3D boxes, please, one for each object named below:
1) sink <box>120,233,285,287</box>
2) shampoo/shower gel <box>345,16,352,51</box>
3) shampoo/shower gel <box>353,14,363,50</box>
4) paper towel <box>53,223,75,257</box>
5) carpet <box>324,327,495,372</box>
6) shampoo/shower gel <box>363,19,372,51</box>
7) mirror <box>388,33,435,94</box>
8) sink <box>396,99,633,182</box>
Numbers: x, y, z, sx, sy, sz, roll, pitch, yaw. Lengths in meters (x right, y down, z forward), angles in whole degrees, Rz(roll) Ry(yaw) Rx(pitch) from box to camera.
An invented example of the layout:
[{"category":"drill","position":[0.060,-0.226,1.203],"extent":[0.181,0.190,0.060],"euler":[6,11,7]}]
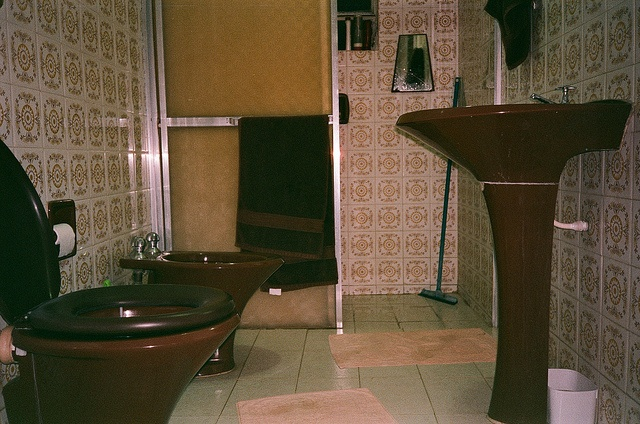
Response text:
[{"category":"sink","position":[-0.617,0.214,2.597],"extent":[0.647,0.327,0.335],"euler":[2,14,4]},{"category":"shampoo/shower gel","position":[0.189,-1.249,3.599],"extent":[0.048,0.201,0.077],"euler":[-1,10,1]},{"category":"shampoo/shower gel","position":[0.257,-1.254,3.574],"extent":[0.070,0.208,0.100],"euler":[-2,10,-3]},{"category":"paper towel","position":[-1.036,0.110,2.044],"extent":[0.081,0.109,0.114],"euler":[11,12,27]},{"category":"carpet","position":[0.518,0.738,2.835],"extent":[0.946,0.015,0.466],"euler":[-2,9,-3]},{"category":"shampoo/shower gel","position":[0.329,-1.249,3.613],"extent":[0.054,0.176,0.087],"euler":[0,10,5]},{"category":"mirror","position":[0.661,-1.091,3.702],"extent":[0.410,0.534,0.019],"euler":[0,1,1]},{"category":"sink","position":[0.719,-0.254,1.952],"extent":[0.826,0.301,0.198],"euler":[0,10,6]}]
